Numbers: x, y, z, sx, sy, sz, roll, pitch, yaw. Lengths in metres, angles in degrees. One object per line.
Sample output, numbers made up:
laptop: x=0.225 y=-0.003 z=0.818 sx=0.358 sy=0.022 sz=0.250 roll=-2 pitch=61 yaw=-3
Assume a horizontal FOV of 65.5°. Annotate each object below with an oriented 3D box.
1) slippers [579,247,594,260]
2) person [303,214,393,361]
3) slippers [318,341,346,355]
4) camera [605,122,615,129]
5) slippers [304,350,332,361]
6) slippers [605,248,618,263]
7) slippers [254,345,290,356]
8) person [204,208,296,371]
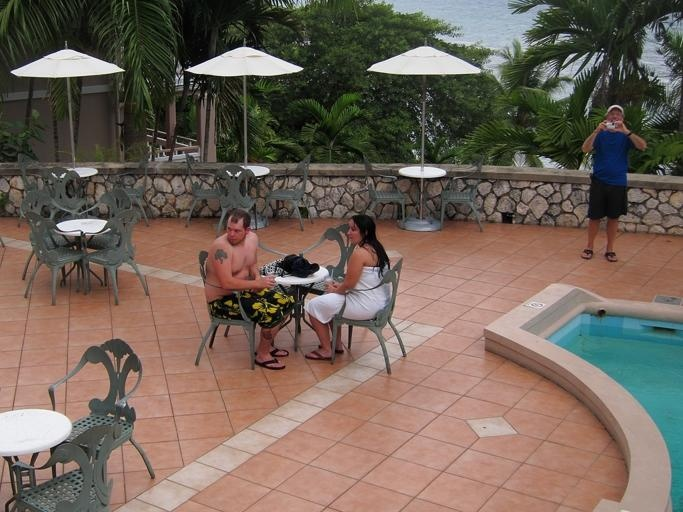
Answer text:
slippers: x=4.358 y=-0.049 z=9.449 sx=0.162 sy=0.091 sz=0.390 roll=7 pitch=19 yaw=23
person: x=0.077 y=0.389 z=5.993 sx=0.935 sy=1.730 sz=0.334 roll=1 pitch=15 yaw=3
slippers: x=-0.113 y=1.092 z=6.315 sx=0.302 sy=0.094 sz=0.144 roll=5 pitch=10 yaw=17
camera: x=4.387 y=-2.150 z=8.666 sx=0.155 sy=0.109 sz=0.085 roll=4 pitch=14 yaw=15
slippers: x=-0.257 y=1.171 z=6.234 sx=0.253 sy=0.047 sz=0.124 roll=3 pitch=4 yaw=-8
slippers: x=4.717 y=-0.006 z=9.295 sx=0.136 sy=0.077 sz=0.328 roll=-1 pitch=12 yaw=8
slippers: x=-0.820 y=1.129 z=6.308 sx=0.378 sy=0.077 sz=0.130 roll=2 pitch=12 yaw=5
person: x=-1.023 y=0.375 z=6.000 sx=0.985 sy=1.799 sz=0.596 roll=-3 pitch=15 yaw=-12
